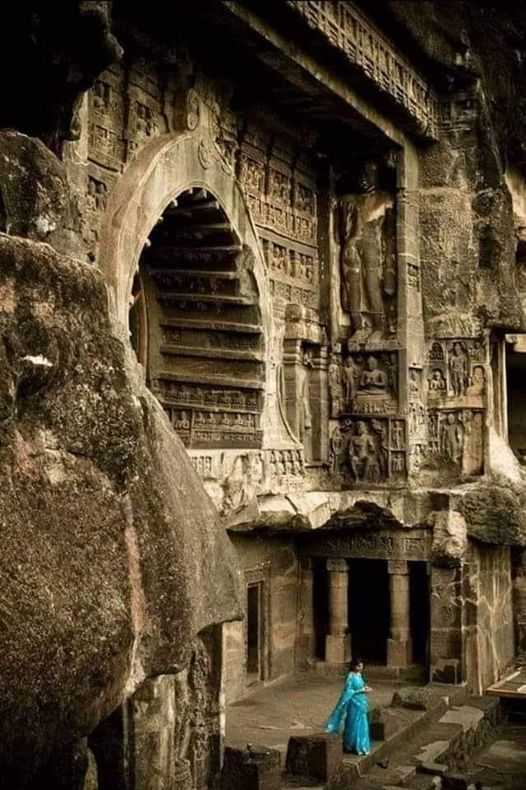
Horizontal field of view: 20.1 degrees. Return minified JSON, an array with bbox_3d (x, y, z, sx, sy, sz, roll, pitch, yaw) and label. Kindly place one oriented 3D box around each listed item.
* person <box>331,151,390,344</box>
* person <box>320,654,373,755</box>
[{"bbox_3d":[1.133,-1.614,16.587,0.634,1.968,0.352,-2,0,7],"label":"person"},{"bbox_3d":[0.724,2.571,12.525,0.309,0.858,0.392,4,16,18],"label":"person"}]
